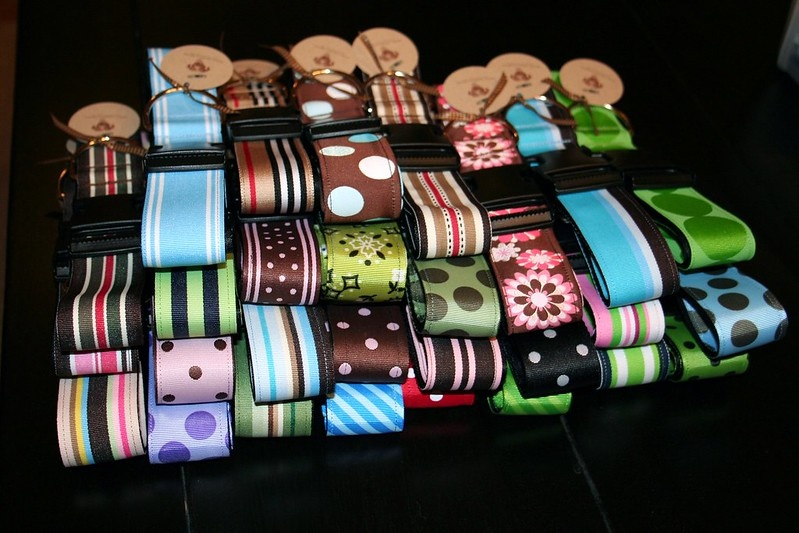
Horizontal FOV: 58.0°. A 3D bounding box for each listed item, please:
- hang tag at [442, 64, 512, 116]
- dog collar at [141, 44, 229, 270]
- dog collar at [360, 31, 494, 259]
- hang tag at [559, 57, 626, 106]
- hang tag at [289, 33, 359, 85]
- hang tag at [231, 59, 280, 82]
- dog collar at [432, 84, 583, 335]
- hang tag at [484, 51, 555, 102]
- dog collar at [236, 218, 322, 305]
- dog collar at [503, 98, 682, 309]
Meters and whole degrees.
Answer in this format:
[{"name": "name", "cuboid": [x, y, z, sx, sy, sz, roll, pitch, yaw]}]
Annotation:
[{"name": "hang tag", "cuboid": [0.212, -0.539, 2.166, 0.265, 0.198, 0.018, 20, -28, 49]}, {"name": "dog collar", "cuboid": [-0.559, -0.291, 1.978, 0.245, 0.663, 0.207, -2, -26, -9]}, {"name": "dog collar", "cuboid": [0.011, -0.420, 2.123, 0.241, 0.920, 0.134, -6, -41, -19]}, {"name": "hang tag", "cuboid": [0.594, -0.574, 2.251, 0.190, 0.140, 0.014, 19, -24, -9]}, {"name": "hang tag", "cuboid": [-0.223, -0.612, 2.133, 0.158, 0.152, 0.036, -27, -7, -14]}, {"name": "hang tag", "cuboid": [-0.436, -0.596, 2.170, 0.099, 0.091, 0.021, -23, -37, -32]}, {"name": "dog collar", "cuboid": [0.304, -0.189, 2.120, 0.213, 0.846, 0.215, -25, -43, 15]}, {"name": "hang tag", "cuboid": [0.365, -0.583, 2.220, 0.224, 0.145, 0.016, 8, 24, 24]}, {"name": "dog collar", "cuboid": [-0.303, -0.016, 1.822, 0.190, 0.225, 0.084, -3, -25, -12]}, {"name": "dog collar", "cuboid": [0.515, -0.139, 2.091, 0.254, 0.891, 0.187, -14, -33, -16]}]
